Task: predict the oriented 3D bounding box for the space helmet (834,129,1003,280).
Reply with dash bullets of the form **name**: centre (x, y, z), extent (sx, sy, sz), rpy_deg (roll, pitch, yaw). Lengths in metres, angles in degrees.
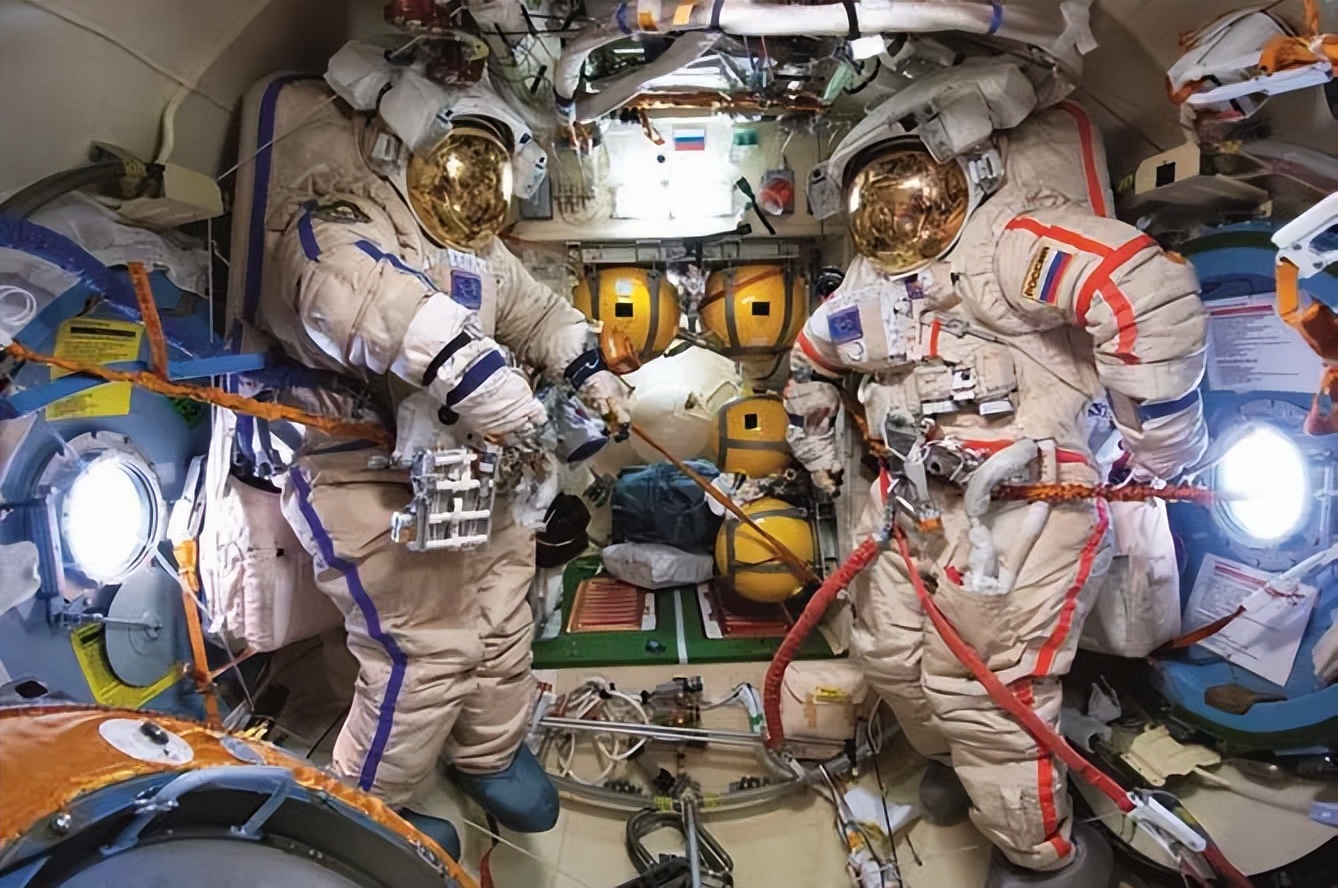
- **space helmet**: centre (1.620, -1.435, 5.011), extent (1.050, 0.833, 0.887), rpy_deg (8, -65, 28)
